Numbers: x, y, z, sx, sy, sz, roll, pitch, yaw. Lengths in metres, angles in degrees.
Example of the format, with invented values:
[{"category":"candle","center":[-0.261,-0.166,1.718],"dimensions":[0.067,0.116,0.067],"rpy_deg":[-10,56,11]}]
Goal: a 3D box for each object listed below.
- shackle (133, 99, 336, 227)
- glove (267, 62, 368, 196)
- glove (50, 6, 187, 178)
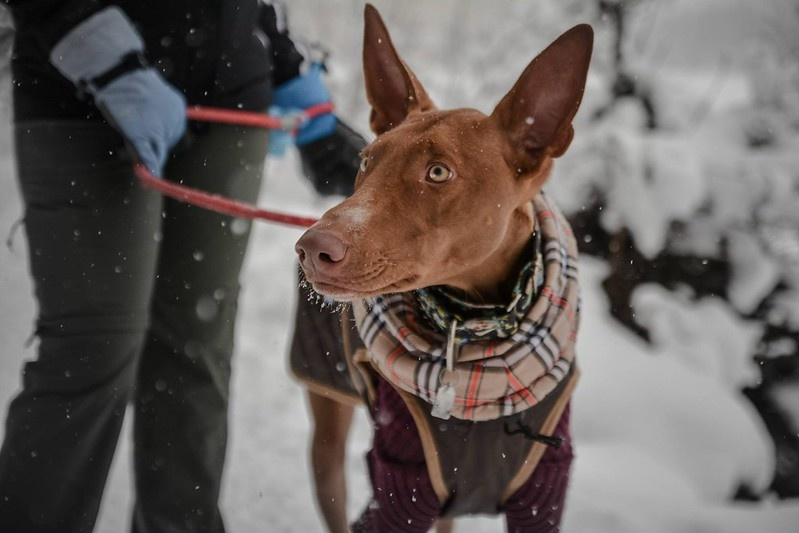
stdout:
[{"category":"shackle","center":[-0.757,-0.340,4.175],"dimensions":[0.850,0.185,0.517],"rpy_deg":[16,34,-11]},{"category":"glove","center":[-0.424,-0.672,5.050],"dimensions":[0.492,0.720,0.280],"rpy_deg":[25,43,29]},{"category":"glove","center":[-1.262,-0.764,4.378],"dimensions":[0.755,0.198,0.494],"rpy_deg":[48,66,-18]}]
